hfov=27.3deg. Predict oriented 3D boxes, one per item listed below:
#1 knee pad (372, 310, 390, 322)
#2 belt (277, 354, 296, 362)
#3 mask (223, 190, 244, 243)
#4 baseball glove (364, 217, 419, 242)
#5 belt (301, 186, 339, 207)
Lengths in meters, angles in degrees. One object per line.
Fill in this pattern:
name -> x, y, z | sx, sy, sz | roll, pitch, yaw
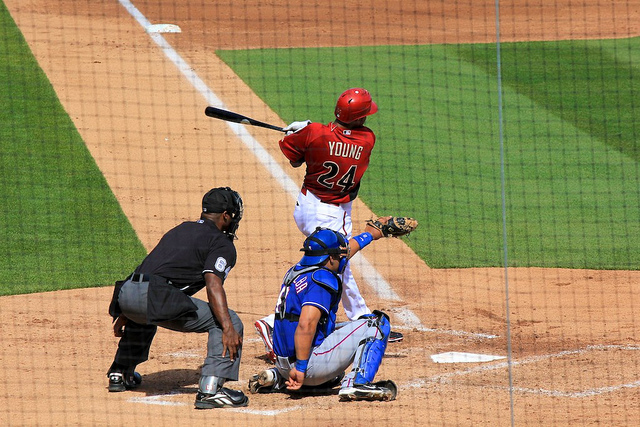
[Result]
knee pad -> 0.787, 1.299, 16.936 | 0.164, 0.055, 0.129 | 27, -6, 6
belt -> -0.397, 1.809, 16.719 | 0.240, 0.129, 0.031 | 13, 6, 21
mask -> -1.096, 0.062, 17.223 | 0.224, 0.489, 0.797 | 16, 6, -3
baseball glove -> 1.017, 0.136, 17.808 | 0.720, 0.187, 0.363 | -3, 28, -11
belt -> 0.014, -0.251, 17.540 | 0.383, 0.121, 0.311 | 20, -13, 25
